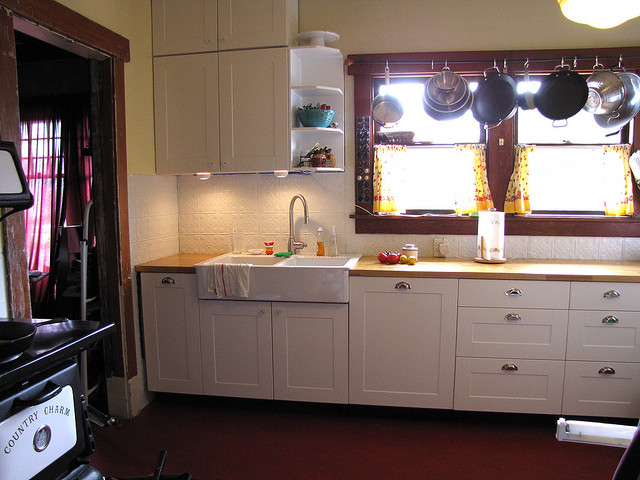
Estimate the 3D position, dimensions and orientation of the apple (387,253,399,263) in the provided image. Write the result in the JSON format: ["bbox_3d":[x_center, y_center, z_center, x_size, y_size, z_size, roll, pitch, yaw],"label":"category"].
[{"bbox_3d":[0.510,0.129,3.536,0.060,0.059,0.061,-3,-2,12],"label":"apple"}]

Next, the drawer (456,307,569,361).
[{"bbox_3d":[1.280,0.535,3.509,0.715,0.342,0.540,-1,20,4],"label":"drawer"}]

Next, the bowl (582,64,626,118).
[{"bbox_3d":[1.779,-0.920,3.159,0.242,0.288,0.100,-2,9,1],"label":"bowl"}]

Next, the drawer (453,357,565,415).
[{"bbox_3d":[1.258,0.941,3.507,0.711,0.358,0.483,1,7,5],"label":"drawer"}]

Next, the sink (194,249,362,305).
[{"bbox_3d":[-0.307,0.267,3.609,1.107,0.304,0.513,-2,9,6],"label":"sink"}]

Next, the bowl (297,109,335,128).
[{"bbox_3d":[-0.038,-0.885,3.617,0.156,0.068,0.159,0,-2,0],"label":"bowl"}]

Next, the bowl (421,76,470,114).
[{"bbox_3d":[0.859,-1.040,3.451,0.266,0.278,0.070,2,23,24],"label":"bowl"}]

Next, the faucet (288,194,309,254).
[{"bbox_3d":[-0.173,-0.124,3.878,0.177,0.457,0.259,-3,9,-4],"label":"faucet"}]

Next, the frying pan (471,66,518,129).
[{"bbox_3d":[1.147,-0.930,3.308,0.283,0.339,0.096,0,9,16],"label":"frying pan"}]
